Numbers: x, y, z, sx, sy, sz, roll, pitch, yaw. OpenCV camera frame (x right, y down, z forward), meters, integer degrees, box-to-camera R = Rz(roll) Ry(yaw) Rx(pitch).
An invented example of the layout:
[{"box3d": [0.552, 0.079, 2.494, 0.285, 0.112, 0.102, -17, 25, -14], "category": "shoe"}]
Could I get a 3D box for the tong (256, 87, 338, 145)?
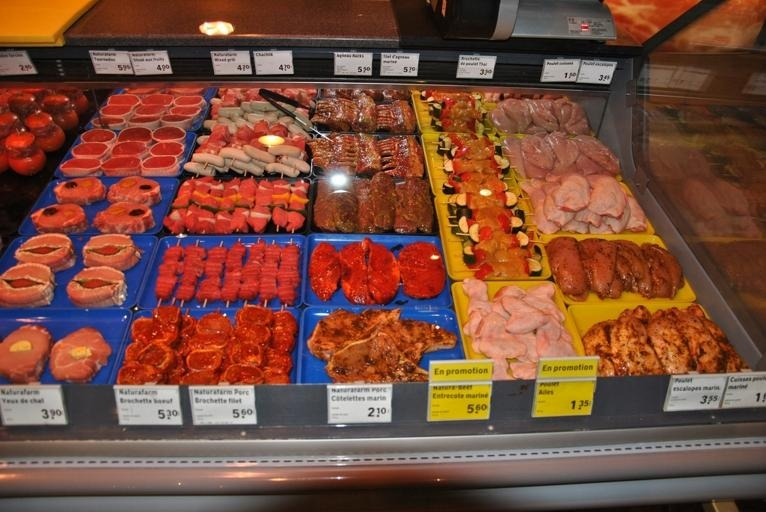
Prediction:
[{"box3d": [-0.835, -1.328, 4.592, 1.130, 0.119, 0.300, 25, 63, 14], "category": "tong"}]
